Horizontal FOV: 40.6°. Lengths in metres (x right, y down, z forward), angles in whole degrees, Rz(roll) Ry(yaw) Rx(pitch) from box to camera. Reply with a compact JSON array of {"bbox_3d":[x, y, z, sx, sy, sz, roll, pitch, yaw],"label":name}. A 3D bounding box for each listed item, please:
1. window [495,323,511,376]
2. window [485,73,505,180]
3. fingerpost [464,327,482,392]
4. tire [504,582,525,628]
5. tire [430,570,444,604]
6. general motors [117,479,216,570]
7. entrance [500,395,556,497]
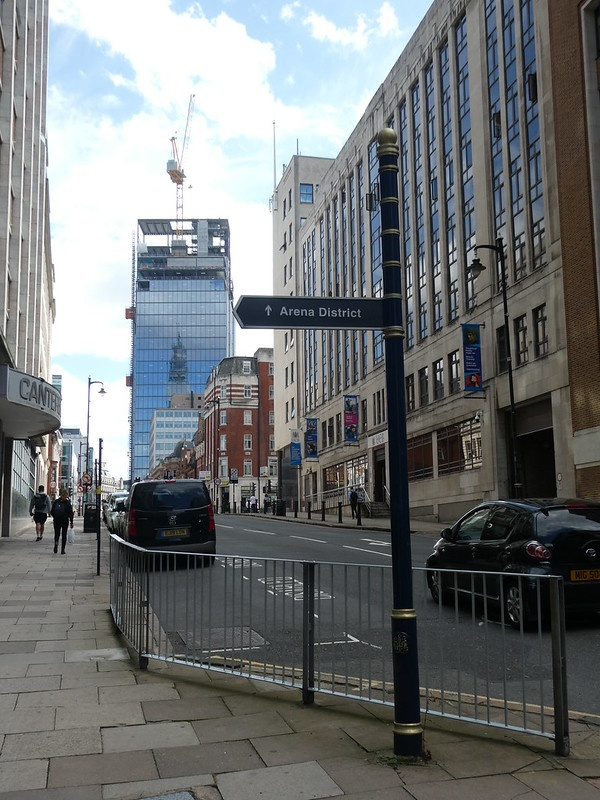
[{"bbox_3d":[7.657,-1.930,30.996,0.251,1.929,0.860,0,-6,-7],"label":"window"},{"bbox_3d":[7.703,-11.167,32.417,0.058,4.054,0.703,-8,-2,-3],"label":"window"},{"bbox_3d":[6.636,-1.672,31.561,1.006,2.603,0.408,4,-7,-33],"label":"fingerpost"},{"bbox_3d":[1.220,1.203,4.691,0.162,0.262,0.111,6,-9,-44],"label":"tire"},{"bbox_3d":[0.847,1.186,5.086,0.058,0.191,0.142,3,-8,-31],"label":"tire"},{"bbox_3d":[-2.239,2.206,14.374,1.289,1.660,2.603,0,-6,-14],"label":"general motors"},{"bbox_3d":[8.350,2.239,31.682,1.716,4.332,2.070,-4,-5,9],"label":"entrance"}]
